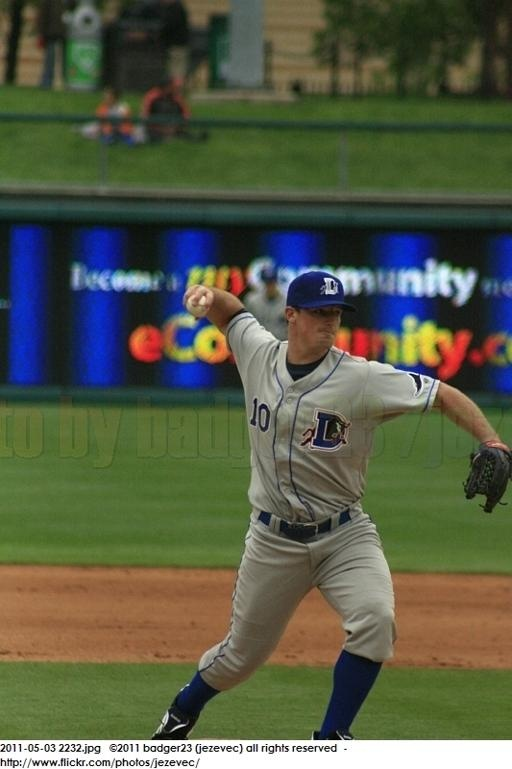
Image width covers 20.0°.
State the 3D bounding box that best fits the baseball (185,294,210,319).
[{"bbox_3d":[-0.240,-0.338,6.222,0.074,0.104,0.047,-1,5,12],"label":"baseball"}]

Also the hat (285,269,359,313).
[{"bbox_3d":[0.240,-0.386,5.943,0.161,0.128,0.227,-4,7,-39],"label":"hat"}]
